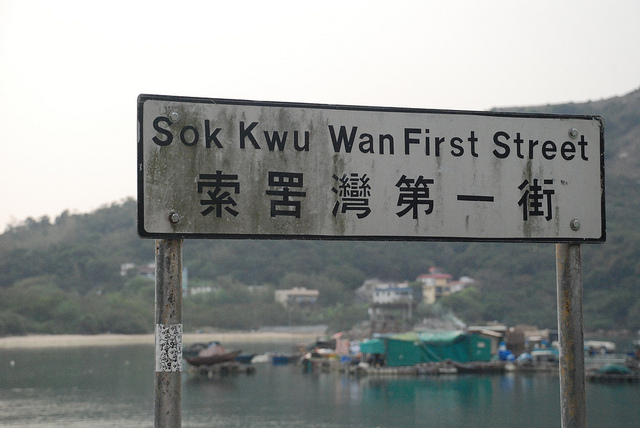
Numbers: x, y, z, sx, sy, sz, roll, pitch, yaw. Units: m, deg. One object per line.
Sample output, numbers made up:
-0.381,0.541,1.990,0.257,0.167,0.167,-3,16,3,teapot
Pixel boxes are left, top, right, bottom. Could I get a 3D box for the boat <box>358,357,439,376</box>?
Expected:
7.267,14.696,163.336,7.053,1.434,1.559,3,12,11,boat
